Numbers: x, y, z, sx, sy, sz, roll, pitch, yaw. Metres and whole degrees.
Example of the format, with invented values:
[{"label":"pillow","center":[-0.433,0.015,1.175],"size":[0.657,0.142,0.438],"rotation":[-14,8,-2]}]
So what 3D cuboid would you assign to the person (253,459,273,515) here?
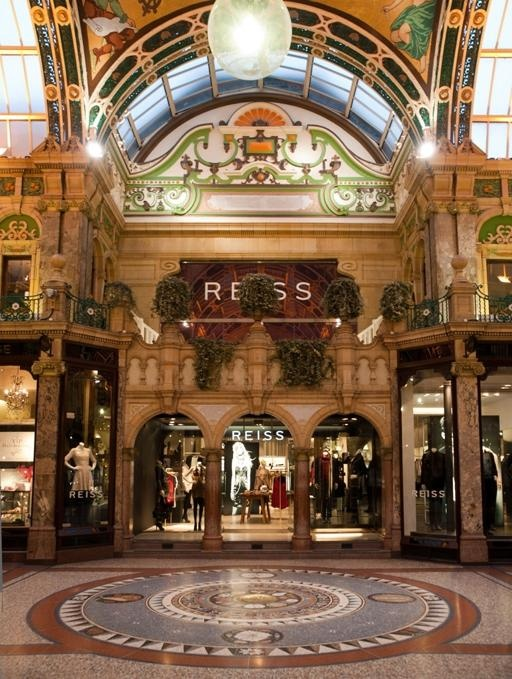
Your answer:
[{"label":"person","center":[0.233,3.699,15.545],"size":[0.386,0.274,1.176],"rotation":[-14,25,-6]}]

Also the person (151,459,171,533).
[{"label":"person","center":[-2.441,4.011,15.591],"size":[0.346,1.739,0.798],"rotation":[2,-13,-8]}]

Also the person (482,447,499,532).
[{"label":"person","center":[4.732,3.006,12.151],"size":[0.253,1.639,0.862],"rotation":[-7,-15,27]}]

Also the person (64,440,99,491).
[{"label":"person","center":[-3.612,2.637,12.294],"size":[0.348,1.065,0.776],"rotation":[-6,-14,25]}]
